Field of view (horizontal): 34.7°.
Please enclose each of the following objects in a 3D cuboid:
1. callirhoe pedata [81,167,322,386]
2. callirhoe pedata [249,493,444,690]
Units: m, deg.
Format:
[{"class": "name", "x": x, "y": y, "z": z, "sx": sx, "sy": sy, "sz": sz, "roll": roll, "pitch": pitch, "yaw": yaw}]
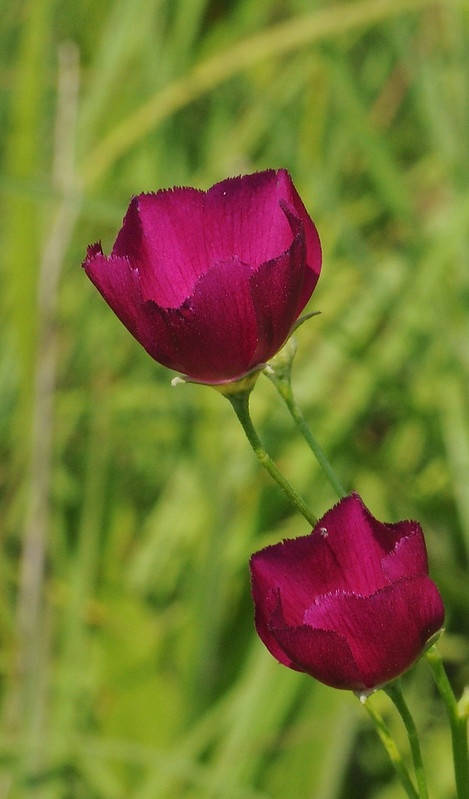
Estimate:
[{"class": "callirhoe pedata", "x": -0.003, "y": -0.021, "z": 0.177, "sx": 0.047, "sy": 0.050, "sz": 0.037, "roll": -10, "pitch": 95, "yaw": -16}, {"class": "callirhoe pedata", "x": 0.023, "y": 0.048, "z": 0.162, "sx": 0.036, "sy": 0.041, "sz": 0.034, "roll": 12, "pitch": 40, "yaw": -17}]
